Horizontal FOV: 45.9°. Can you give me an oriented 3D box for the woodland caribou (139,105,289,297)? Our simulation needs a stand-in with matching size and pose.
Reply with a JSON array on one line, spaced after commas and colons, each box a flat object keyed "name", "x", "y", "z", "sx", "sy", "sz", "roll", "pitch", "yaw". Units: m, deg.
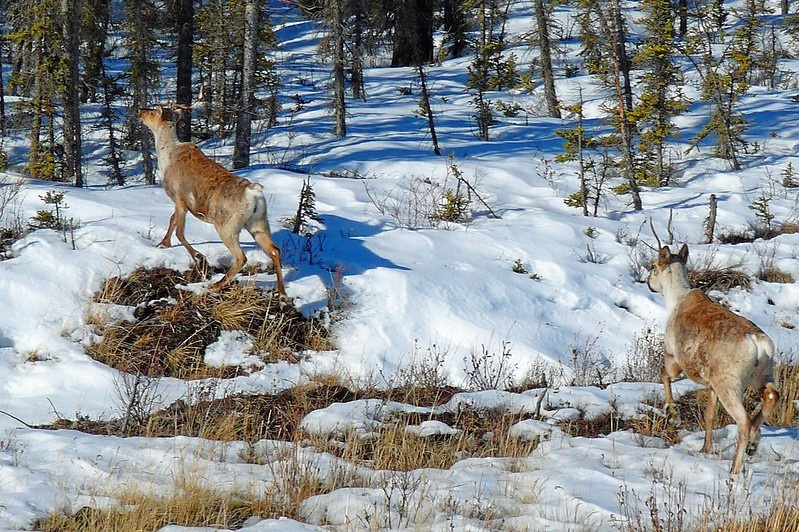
[{"name": "woodland caribou", "x": -4.224, "y": -1.504, "z": 21.343, "sx": 2.777, "sy": 4.535, "sz": 1.031, "roll": -2, "pitch": 6, "yaw": 36}]
